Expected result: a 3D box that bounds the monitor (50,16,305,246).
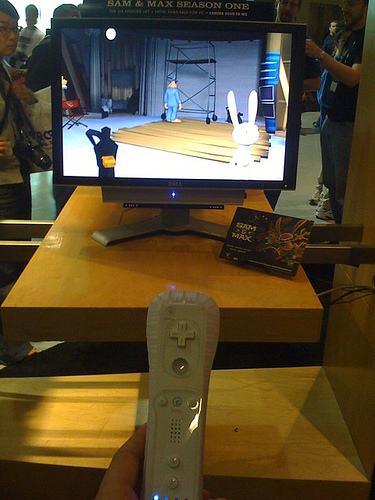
[{"bbox_3d":[-0.022,-0.252,0.904,0.516,0.444,0.139,2,11,2],"label":"monitor"}]
